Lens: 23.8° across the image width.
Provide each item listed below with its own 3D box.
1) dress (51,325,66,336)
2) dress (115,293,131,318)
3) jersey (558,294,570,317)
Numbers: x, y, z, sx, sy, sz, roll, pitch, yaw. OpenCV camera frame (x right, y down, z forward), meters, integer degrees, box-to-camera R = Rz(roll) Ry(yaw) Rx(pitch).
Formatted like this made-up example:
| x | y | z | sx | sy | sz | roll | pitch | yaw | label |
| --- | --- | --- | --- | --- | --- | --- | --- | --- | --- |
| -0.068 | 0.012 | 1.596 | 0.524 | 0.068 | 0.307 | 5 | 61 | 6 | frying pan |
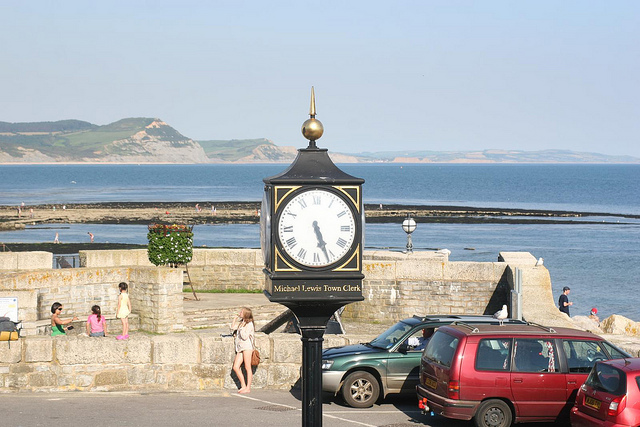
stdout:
| x | y | z | sx | sy | sz | roll | pitch | yaw | label |
| --- | --- | --- | --- | --- | --- | --- | --- | --- | --- |
| -13.392 | 5.919 | 76.864 | 0.598 | 0.534 | 1.200 | -3 | -7 | 25 | dress |
| -10.320 | 4.790 | 78.754 | 0.521 | 1.251 | 0.424 | 1 | -7 | -9 | dress |
| 13.118 | 4.934 | 82.136 | 0.469 | 1.047 | 0.696 | -1 | -7 | 3 | jersey |
